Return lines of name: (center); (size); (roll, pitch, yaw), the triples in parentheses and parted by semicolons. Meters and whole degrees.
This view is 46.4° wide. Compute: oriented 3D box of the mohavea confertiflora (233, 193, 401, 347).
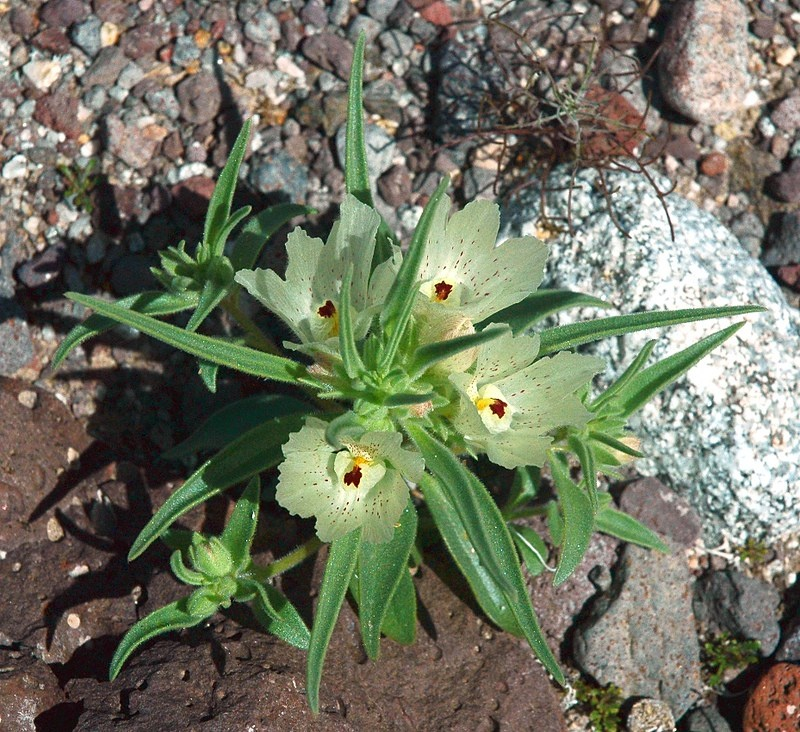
mohavea confertiflora: (-0.312, -0.355, 3.715); (0.654, 0.350, 0.402); (-20, 68, -16)

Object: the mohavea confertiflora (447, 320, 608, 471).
mohavea confertiflora: (0.455, 0.164, 3.720); (0.575, 0.425, 0.497); (20, 63, 2)

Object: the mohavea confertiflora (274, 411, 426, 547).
mohavea confertiflora: (-0.187, 0.401, 3.745); (0.483, 0.195, 0.511); (36, 106, 3)
